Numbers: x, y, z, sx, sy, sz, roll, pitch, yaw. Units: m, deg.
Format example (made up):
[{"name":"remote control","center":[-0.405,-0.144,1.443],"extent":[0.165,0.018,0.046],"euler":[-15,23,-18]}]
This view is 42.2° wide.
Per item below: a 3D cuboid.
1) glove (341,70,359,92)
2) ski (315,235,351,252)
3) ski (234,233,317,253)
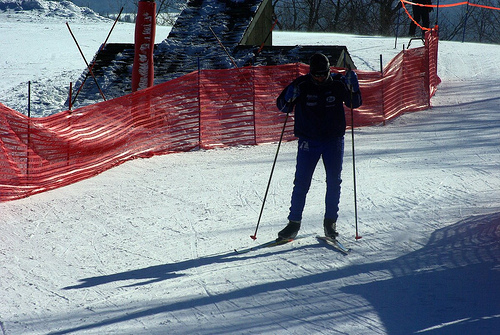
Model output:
[{"name":"glove","center":[1.701,-1.430,10.662],"extent":[0.158,0.321,0.276],"euler":[-25,15,-38]},{"name":"ski","center":[1.367,1.218,10.751],"extent":[0.118,0.170,0.641],"euler":[-32,34,-24]},{"name":"ski","center":[0.440,1.260,10.755],"extent":[1.100,0.075,0.114],"euler":[-10,23,-12]}]
